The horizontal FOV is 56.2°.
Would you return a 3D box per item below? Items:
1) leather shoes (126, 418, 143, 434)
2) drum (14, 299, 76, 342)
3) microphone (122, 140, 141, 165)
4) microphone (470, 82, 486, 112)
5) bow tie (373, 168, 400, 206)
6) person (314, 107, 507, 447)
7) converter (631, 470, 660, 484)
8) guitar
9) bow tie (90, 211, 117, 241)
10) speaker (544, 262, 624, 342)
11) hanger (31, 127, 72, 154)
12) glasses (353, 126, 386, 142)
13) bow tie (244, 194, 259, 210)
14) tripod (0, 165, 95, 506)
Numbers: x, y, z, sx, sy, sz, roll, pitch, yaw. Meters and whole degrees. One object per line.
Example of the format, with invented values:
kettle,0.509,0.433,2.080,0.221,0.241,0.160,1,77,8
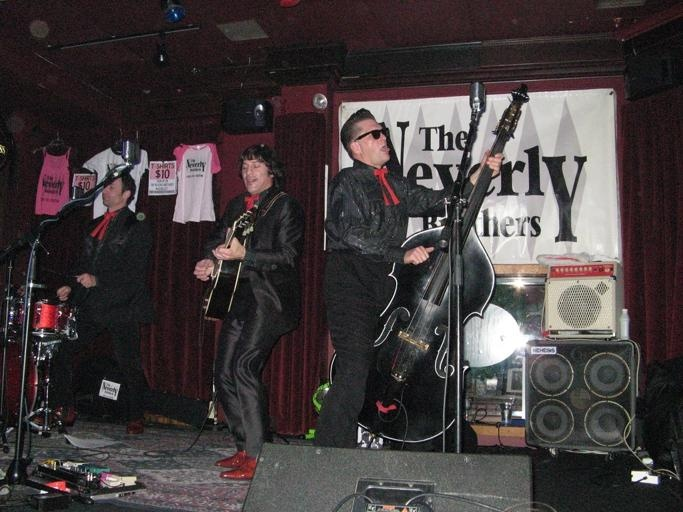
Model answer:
leather shoes,-1.739,1.411,5.339,0.140,0.119,0.128,3,-5,-19
drum,-2.155,0.451,4.647,0.349,0.309,0.461,0,3,-7
microphone,-1.249,-0.608,3.757,0.103,0.168,0.161,3,-4,-20
microphone,0.775,-0.889,3.631,0.085,0.192,0.161,1,-4,11
bow tie,0.283,-0.441,4.048,0.126,0.265,0.060,-13,-9,-26
person,0.187,0.080,3.990,0.595,2.092,0.540,1,-4,5
converter,1.984,1.433,4.151,0.175,0.079,0.048,0,-4,14
guitar,-0.734,0.064,4.226,0.148,0.889,0.363,17,26,-10
bow tie,-2.068,-0.271,5.568,0.107,0.351,0.034,25,-29,11
speaker,1.805,0.354,4.853,0.562,0.740,0.500,0,-6,29
hanger,-3.303,-1.299,7.200,0.291,0.356,0.033,1,-12,-3
glasses,0.171,-0.782,4.133,0.151,0.052,0.130,-6,9,40
bow tie,-0.633,-0.382,4.438,0.033,0.111,0.099,20,-13,-42
tripod,-1.826,0.462,3.845,0.440,1.794,0.938,5,-5,-41
